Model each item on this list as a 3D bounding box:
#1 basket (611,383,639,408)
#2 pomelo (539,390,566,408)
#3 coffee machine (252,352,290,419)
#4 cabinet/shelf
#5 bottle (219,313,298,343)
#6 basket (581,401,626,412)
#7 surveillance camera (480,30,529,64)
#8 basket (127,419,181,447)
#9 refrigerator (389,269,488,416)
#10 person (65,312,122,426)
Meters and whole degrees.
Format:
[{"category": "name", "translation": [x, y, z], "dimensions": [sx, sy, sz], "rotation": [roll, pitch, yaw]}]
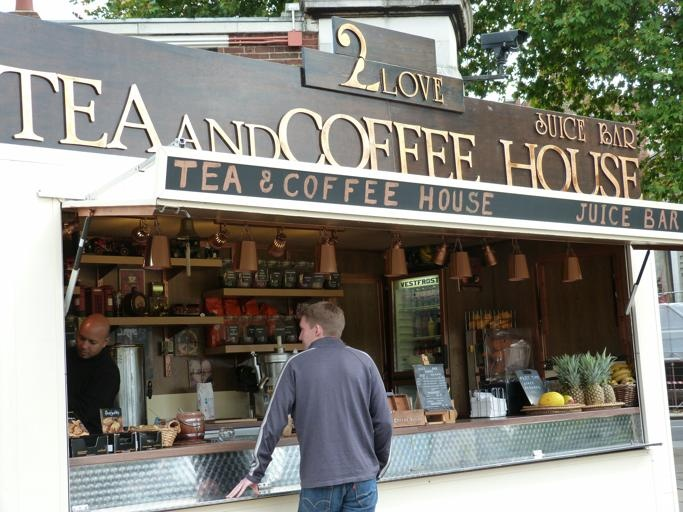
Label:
[{"category": "basket", "translation": [2.886, 1.405, 8.005], "dimensions": [0.191, 0.159, 0.209], "rotation": [-1, -10, 9]}, {"category": "pomelo", "translation": [2.045, 1.398, 7.719], "dimensions": [0.171, 0.162, 0.168], "rotation": [-5, -1, 18]}, {"category": "coffee machine", "translation": [-0.664, 1.357, 8.167], "dimensions": [0.565, 0.674, 0.364], "rotation": [-1, -10, 22]}, {"category": "cabinet/shelf", "translation": [-1.695, 0.498, 9.089], "dimensions": [0.729, 1.059, 2.881], "rotation": [1, -1, 44]}, {"category": "bottle", "translation": [-0.959, 0.871, 9.350], "dimensions": [0.754, 0.347, 0.399], "rotation": [0, 1, -32]}, {"category": "basket", "translation": [2.646, 1.480, 7.852], "dimensions": [0.528, 0.065, 0.173], "rotation": [-2, -10, -21]}, {"category": "surveillance camera", "translation": [2.096, -2.692, 10.214], "dimensions": [0.544, 0.383, 0.272], "rotation": [4, 5, 37]}, {"category": "basket", "translation": [-1.357, 1.323, 5.866], "dimensions": [0.249, 0.189, 0.519], "rotation": [-12, -12, 37]}, {"category": "refrigerator", "translation": [1.294, 1.105, 10.509], "dimensions": [0.744, 1.904, 0.959], "rotation": [-1, 0, -40]}, {"category": "person", "translation": [-2.091, 0.966, 6.661], "dimensions": [0.409, 0.992, 0.818], "rotation": [-2, -10, -20]}]
